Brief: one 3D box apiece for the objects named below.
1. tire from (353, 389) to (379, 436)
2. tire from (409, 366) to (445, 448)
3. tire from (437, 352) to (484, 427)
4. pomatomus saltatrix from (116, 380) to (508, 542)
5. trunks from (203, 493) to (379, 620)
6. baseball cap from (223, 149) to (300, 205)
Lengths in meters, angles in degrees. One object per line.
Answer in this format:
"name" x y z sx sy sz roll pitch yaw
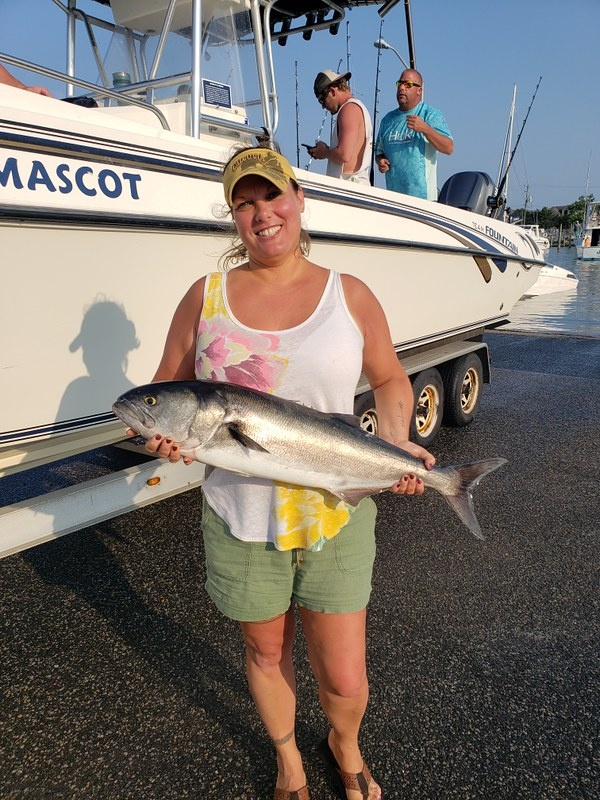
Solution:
"tire" 0.456 0.085 4.030 0.084 0.332 0.330 -2 -4 27
"tire" 1.055 0.100 4.852 0.159 0.620 0.617 5 60 23
"tire" 1.443 -0.110 5.344 0.210 0.599 0.597 6 14 30
"pomatomus saltatrix" 0.050 0.167 1.433 0.936 0.470 0.121 -6 15 -21
"trunks" -0.033 0.295 1.623 0.504 0.473 0.294 0 4 -2
"baseball cap" -0.102 -0.561 1.469 0.182 0.141 0.134 0 14 -2
